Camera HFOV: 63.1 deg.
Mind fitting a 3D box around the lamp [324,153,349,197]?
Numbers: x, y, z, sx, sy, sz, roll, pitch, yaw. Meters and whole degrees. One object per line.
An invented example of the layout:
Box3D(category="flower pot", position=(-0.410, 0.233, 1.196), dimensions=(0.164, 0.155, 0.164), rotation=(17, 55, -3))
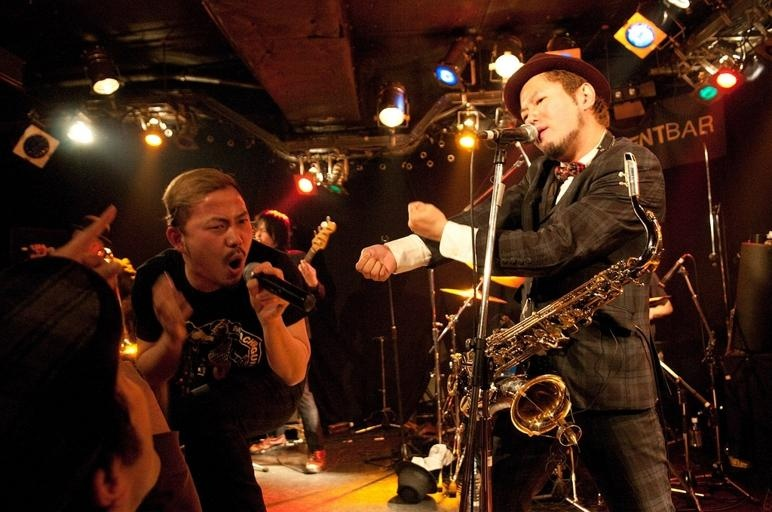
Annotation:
Box3D(category="lamp", position=(-0.679, -1.155, 8.921), dimensions=(0.338, 0.412, 0.452), rotation=(-1, -15, -5))

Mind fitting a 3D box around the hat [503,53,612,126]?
Box3D(category="hat", position=(1.282, -1.274, 4.574), dimensions=(0.687, 0.248, 0.574), rotation=(16, -37, -6))

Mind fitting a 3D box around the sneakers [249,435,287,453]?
Box3D(category="sneakers", position=(-1.486, 2.410, 8.046), dimensions=(0.155, 0.187, 0.474), rotation=(-13, -20, 42))

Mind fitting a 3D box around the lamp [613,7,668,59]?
Box3D(category="lamp", position=(2.754, -2.364, 6.721), dimensions=(0.488, 0.421, 0.257), rotation=(-1, -15, -5))

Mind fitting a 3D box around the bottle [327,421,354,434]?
Box3D(category="bottle", position=(-0.635, 2.473, 9.044), dimensions=(0.231, 0.174, 0.398), rotation=(-10, -17, 27))

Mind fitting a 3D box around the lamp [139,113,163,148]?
Box3D(category="lamp", position=(-3.139, -1.669, 8.385), dimensions=(0.298, 0.263, 0.372), rotation=(3, -16, -19))

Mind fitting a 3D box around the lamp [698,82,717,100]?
Box3D(category="lamp", position=(3.551, -1.805, 6.915), dimensions=(0.100, 0.147, 0.196), rotation=(11, -20, -41))

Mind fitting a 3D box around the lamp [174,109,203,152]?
Box3D(category="lamp", position=(-2.652, -1.697, 8.409), dimensions=(0.305, 0.305, 0.684), rotation=(3, -16, -19))

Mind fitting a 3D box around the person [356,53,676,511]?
Box3D(category="person", position=(1.074, 0.081, 4.198), dimensions=(1.572, 3.114, 0.775), rotation=(-4, -15, 7))

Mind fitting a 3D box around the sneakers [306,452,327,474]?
Box3D(category="sneakers", position=(-0.802, 2.374, 7.161), dimensions=(0.161, 0.171, 0.278), rotation=(-4, -29, 9))
